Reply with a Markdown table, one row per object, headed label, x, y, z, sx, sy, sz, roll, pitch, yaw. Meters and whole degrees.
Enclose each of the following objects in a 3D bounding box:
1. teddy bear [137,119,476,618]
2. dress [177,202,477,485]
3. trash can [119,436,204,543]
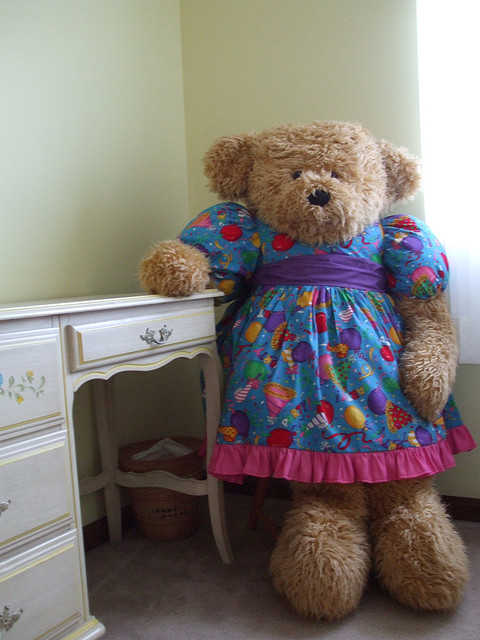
| label | x | y | z | sx | sy | sz | roll | pitch | yaw |
| --- | --- | --- | --- | --- | --- | --- | --- | --- | --- |
| teddy bear | 0.199 | 0.050 | 1.318 | 0.787 | 1.078 | 0.518 | -4 | 4 | -4 |
| dress | 0.208 | 0.039 | 1.310 | 0.765 | 0.722 | 0.445 | -1 | -14 | 1 |
| trash can | -0.193 | 0.471 | 1.643 | 0.267 | 0.215 | 0.267 | -1 | 8 | 4 |
